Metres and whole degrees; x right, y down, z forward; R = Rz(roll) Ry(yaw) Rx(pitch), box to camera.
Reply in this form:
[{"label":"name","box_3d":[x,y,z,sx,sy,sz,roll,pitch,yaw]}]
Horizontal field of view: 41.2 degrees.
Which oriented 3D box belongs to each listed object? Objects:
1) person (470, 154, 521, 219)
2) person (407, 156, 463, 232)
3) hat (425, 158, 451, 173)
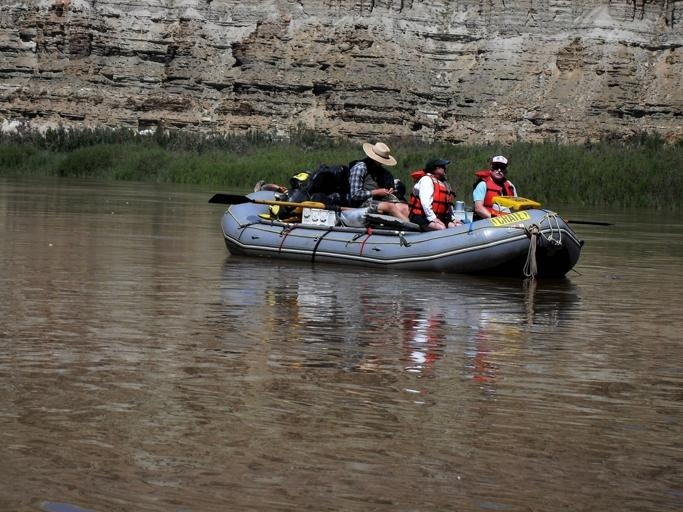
[{"label":"person","box_3d":[2.358,-1.061,14.120,0.589,1.020,0.996,4,7,8]},{"label":"person","box_3d":[1.495,-0.967,14.105,0.831,1.112,0.811,4,8,4]},{"label":"hat","box_3d":[1.445,-1.389,13.811,0.398,0.098,0.212,-8,5,6]}]
